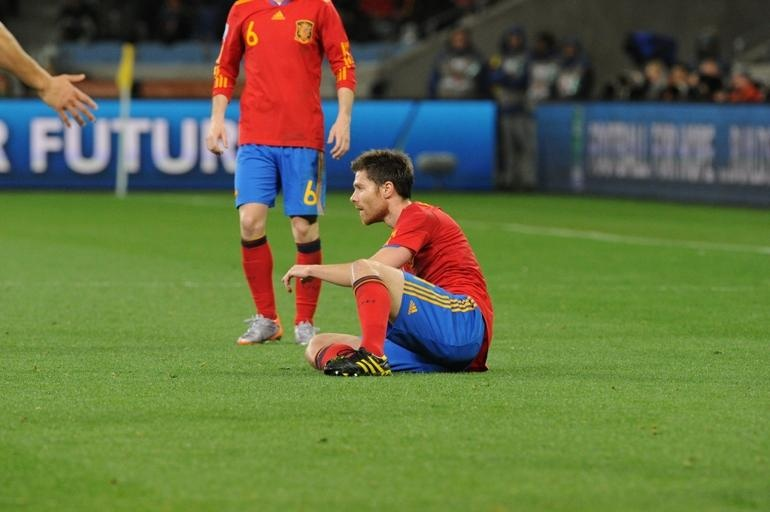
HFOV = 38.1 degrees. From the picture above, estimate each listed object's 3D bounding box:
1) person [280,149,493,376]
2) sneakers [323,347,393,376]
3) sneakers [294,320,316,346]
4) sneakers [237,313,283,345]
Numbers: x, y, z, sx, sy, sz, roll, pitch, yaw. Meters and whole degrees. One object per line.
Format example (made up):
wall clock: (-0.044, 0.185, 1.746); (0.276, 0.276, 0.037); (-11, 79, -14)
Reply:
person: (0.097, 0.072, 6.059); (0.941, 1.148, 0.753); (5, 15, 21)
sneakers: (-0.136, 0.562, 5.977); (0.307, 0.135, 0.149); (3, -5, -2)
sneakers: (-0.498, 0.481, 6.932); (0.117, 0.139, 0.321); (0, -6, -4)
sneakers: (-0.784, 0.471, 7.007); (0.116, 0.167, 0.350); (-5, -4, 38)
